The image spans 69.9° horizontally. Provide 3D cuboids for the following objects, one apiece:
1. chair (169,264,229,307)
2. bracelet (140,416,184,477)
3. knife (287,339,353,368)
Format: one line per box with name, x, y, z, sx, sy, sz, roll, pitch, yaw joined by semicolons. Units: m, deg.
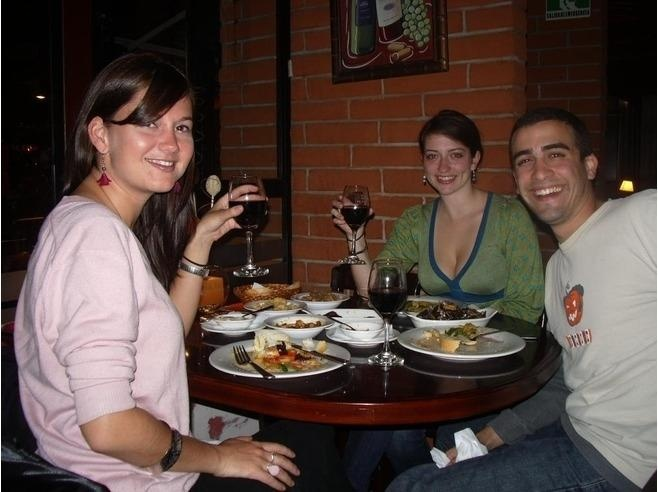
chair;-0.461;0.143;1.726;0.126;0.129;0.130;0;0;-4
bracelet;-0.385;0.480;1.125;0.054;0.112;0.082;21;-31;-25
knife;-0.032;0.318;1.388;0.191;0.010;0.028;12;43;26
